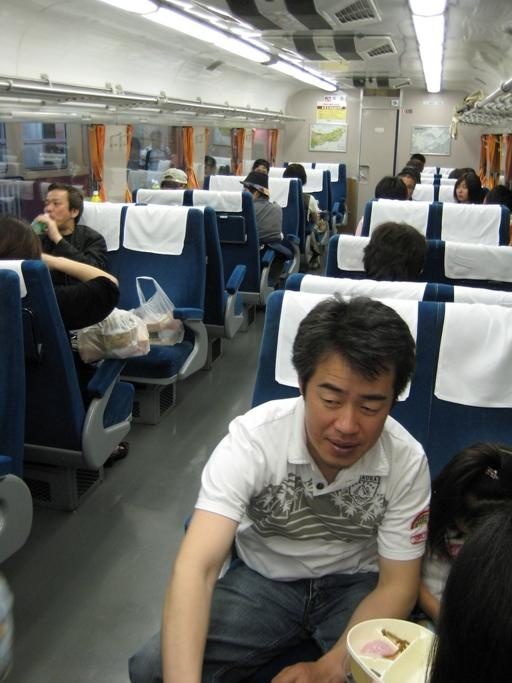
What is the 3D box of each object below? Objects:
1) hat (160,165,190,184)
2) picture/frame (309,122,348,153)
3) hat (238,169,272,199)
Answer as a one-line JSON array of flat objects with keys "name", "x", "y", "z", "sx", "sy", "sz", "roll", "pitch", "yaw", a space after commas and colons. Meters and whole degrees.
[{"name": "hat", "x": -1.163, "y": -2.277, "z": 6.765, "sx": 0.355, "sy": 0.233, "sz": 0.354, "roll": 8, "pitch": 9, "yaw": 23}, {"name": "picture/frame", "x": 2.284, "y": -6.497, "z": 15.815, "sx": 1.187, "sy": 0.895, "sz": 0.149, "roll": 3, "pitch": 14, "yaw": 16}, {"name": "hat", "x": 0.034, "y": -2.125, "z": 6.713, "sx": 0.352, "sy": 0.235, "sz": 0.430, "roll": 21, "pitch": 1, "yaw": 4}]
